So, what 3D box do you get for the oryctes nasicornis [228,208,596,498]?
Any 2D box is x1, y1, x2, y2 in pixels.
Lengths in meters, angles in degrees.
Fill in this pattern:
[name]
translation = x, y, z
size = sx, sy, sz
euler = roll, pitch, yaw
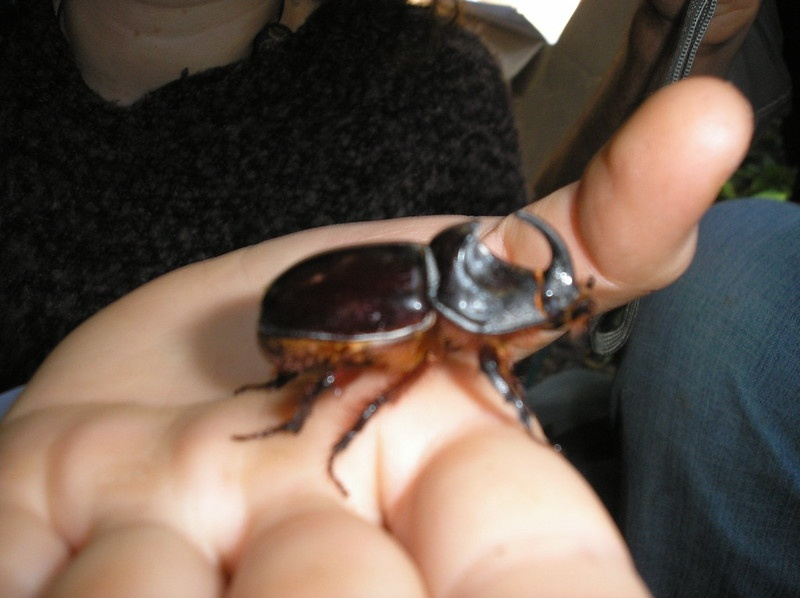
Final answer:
[oryctes nasicornis]
translation = 0.006, 0.035, 0.532
size = 0.221, 0.157, 0.143
euler = -9, 89, -4
